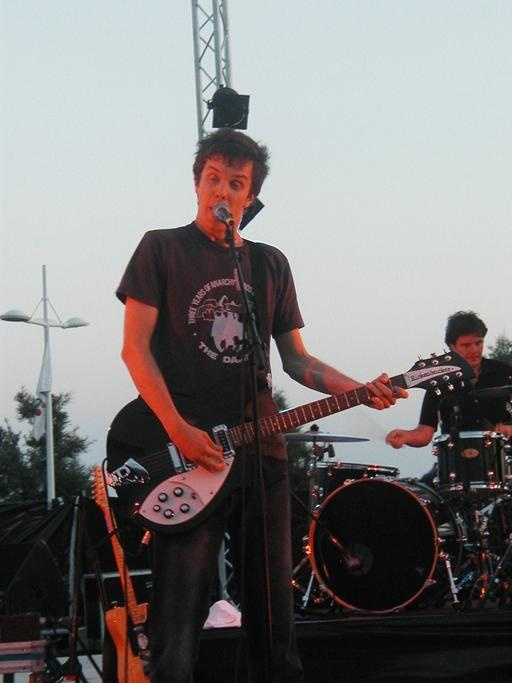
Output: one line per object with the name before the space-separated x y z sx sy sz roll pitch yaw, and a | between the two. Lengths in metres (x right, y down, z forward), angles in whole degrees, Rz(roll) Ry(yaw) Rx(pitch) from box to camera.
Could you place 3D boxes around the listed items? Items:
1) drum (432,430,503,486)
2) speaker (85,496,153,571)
drum | 1.411 0.752 6.088 0.467 0.350 0.377 -4 -2 18
speaker | -0.715 0.933 4.543 0.064 0.390 0.171 -15 12 1
